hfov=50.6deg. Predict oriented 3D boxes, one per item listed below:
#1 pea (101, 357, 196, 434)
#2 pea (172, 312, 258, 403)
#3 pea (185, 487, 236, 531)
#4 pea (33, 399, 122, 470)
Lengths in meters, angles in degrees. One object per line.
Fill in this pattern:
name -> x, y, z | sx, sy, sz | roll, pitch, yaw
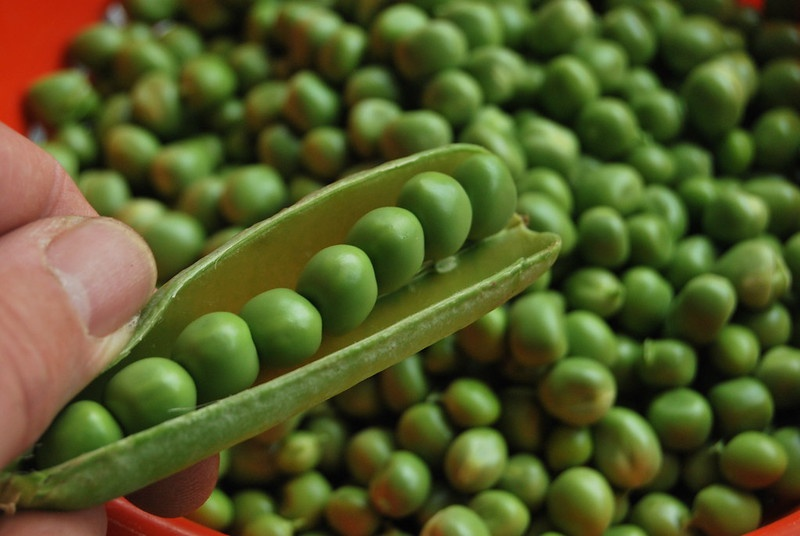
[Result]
pea -> -0.445, 0.203, 1.505 | 0.109, 0.153, 0.115 | 22, 38, 19
pea -> -0.334, 0.161, 1.523 | 0.149, 0.114, 0.112 | -10, 40, -11
pea -> -0.401, 0.515, 1.795 | 0.072, 0.101, 0.079 | -7, 7, -1
pea -> -0.539, 0.278, 1.435 | 0.104, 0.144, 0.115 | 2, 35, -12
